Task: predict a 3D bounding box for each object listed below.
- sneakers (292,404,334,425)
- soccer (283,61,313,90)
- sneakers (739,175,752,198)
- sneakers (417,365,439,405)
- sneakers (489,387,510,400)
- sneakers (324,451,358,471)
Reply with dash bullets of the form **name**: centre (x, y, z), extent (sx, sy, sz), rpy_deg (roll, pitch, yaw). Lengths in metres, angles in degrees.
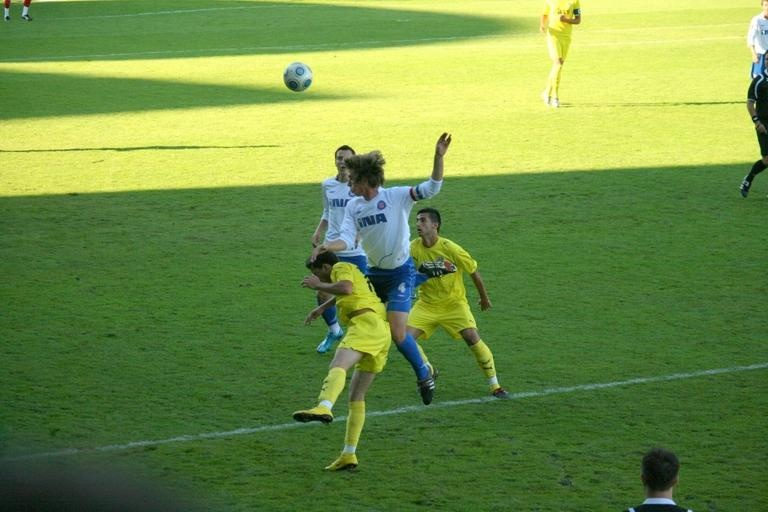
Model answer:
- **sneakers**: centre (-0.922, 1.934, 14.700), extent (0.644, 0.163, 0.258), rpy_deg (3, 28, -8)
- **soccer**: centre (-1.673, -3.544, 23.786), extent (0.706, 0.524, 0.570), rpy_deg (2, 30, -5)
- **sneakers**: centre (6.216, -1.188, 20.589), extent (0.190, 0.386, 0.202), rpy_deg (0, 20, 1)
- **sneakers**: centre (0.620, 1.683, 15.751), extent (0.226, 0.496, 0.324), rpy_deg (7, 10, 44)
- **sneakers**: centre (1.549, 1.799, 15.942), extent (0.239, 0.121, 0.109), rpy_deg (-7, 8, 18)
- **sneakers**: centre (-0.569, 2.516, 14.804), extent (0.556, 0.192, 0.164), rpy_deg (-2, 5, 0)
